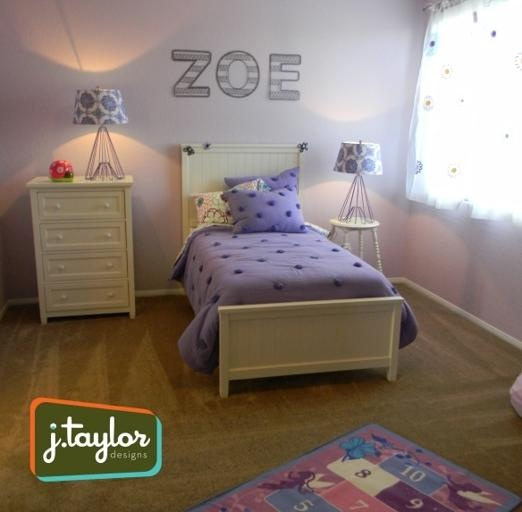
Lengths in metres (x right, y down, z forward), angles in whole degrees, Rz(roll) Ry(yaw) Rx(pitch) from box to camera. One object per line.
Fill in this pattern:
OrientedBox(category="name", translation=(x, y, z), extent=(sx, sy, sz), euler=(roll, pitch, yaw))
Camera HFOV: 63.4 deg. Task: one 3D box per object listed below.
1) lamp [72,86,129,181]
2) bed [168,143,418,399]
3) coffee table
OrientedBox(category="lamp", translation=(-1.174, -0.911, 3.154), extent=(0.393, 0.662, 0.426), euler=(-4, 13, -23))
OrientedBox(category="bed", translation=(0.307, -0.127, 2.961), extent=(1.604, 1.352, 1.744), euler=(-2, 12, -14))
OrientedBox(category="coffee table", translation=(0.868, -0.160, 3.691), extent=(0.342, 0.413, 0.347), euler=(-2, 37, 16))
